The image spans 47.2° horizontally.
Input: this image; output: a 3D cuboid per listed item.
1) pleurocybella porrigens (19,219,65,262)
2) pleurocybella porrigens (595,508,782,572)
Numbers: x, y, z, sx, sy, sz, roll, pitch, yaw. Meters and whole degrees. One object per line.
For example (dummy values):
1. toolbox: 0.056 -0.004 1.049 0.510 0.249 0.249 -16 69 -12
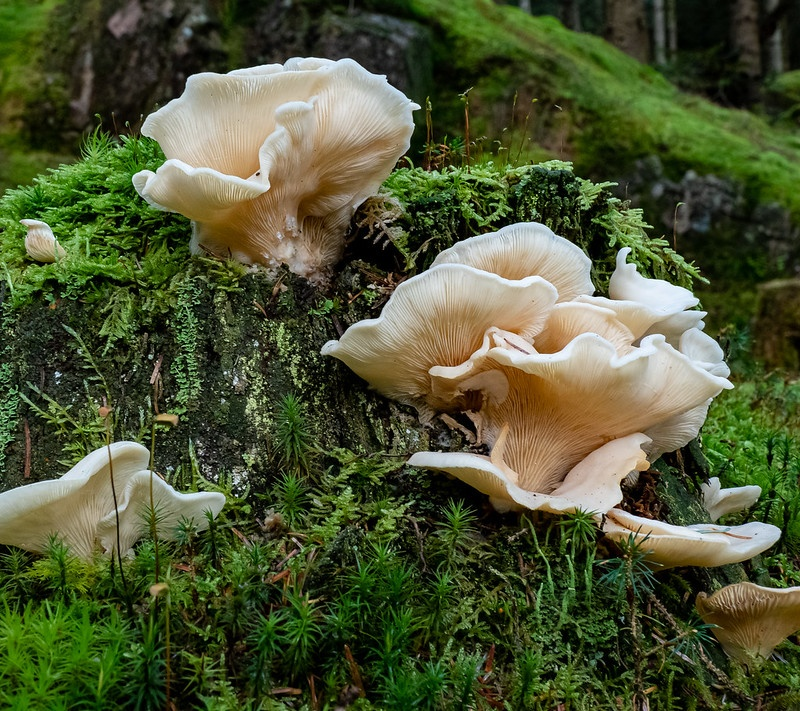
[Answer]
1. pleurocybella porrigens: -1.804 -0.581 4.640 0.238 0.230 0.133 13 30 25
2. pleurocybella porrigens: 1.388 0.900 4.430 0.601 0.170 0.491 -2 -8 18
